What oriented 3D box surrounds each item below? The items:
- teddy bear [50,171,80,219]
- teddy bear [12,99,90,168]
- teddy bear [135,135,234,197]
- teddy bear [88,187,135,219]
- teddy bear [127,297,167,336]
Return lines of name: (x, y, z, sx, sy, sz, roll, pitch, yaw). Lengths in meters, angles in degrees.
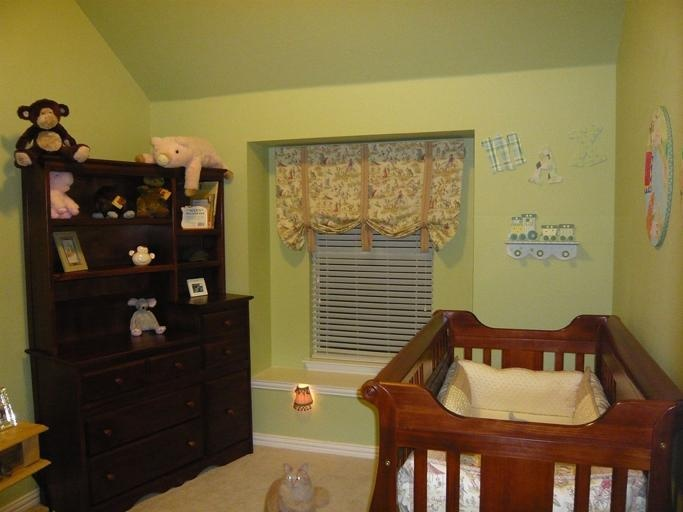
teddy bear: (-1.801, -0.390, 3.638, 0.157, 0.296, 0.240, -4, 14, -26)
teddy bear: (-1.841, -0.778, 3.583, 0.425, 0.427, 0.331, -3, 13, -20)
teddy bear: (-1.172, -0.721, 4.196, 0.392, 0.334, 0.538, 13, 20, 19)
teddy bear: (-1.619, -0.357, 4.000, 0.211, 0.131, 0.280, 14, 9, 41)
teddy bear: (-1.464, 0.443, 4.145, 0.280, 0.327, 0.256, -3, 9, -40)
